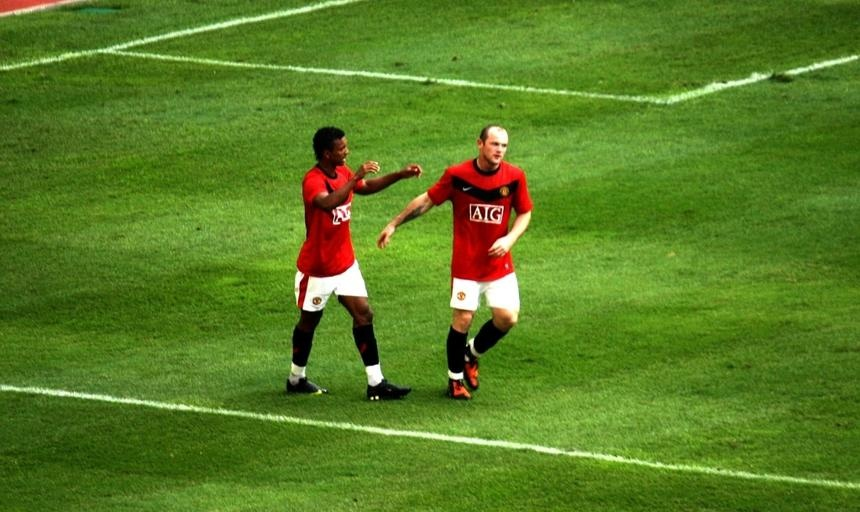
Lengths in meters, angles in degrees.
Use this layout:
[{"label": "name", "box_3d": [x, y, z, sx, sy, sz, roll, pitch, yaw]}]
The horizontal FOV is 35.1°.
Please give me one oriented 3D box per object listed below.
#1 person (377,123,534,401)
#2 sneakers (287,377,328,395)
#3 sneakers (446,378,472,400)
[{"label": "person", "box_3d": [0.626, 0.084, 19.093, 1.646, 3.727, 0.888, -1, 15, 0]}, {"label": "sneakers", "box_3d": [-1.774, 1.838, 19.339, 0.649, 0.247, 0.227, 1, 5, 10]}, {"label": "sneakers", "box_3d": [0.422, 1.871, 19.263, 0.224, 0.221, 0.382, -5, 5, -45]}]
